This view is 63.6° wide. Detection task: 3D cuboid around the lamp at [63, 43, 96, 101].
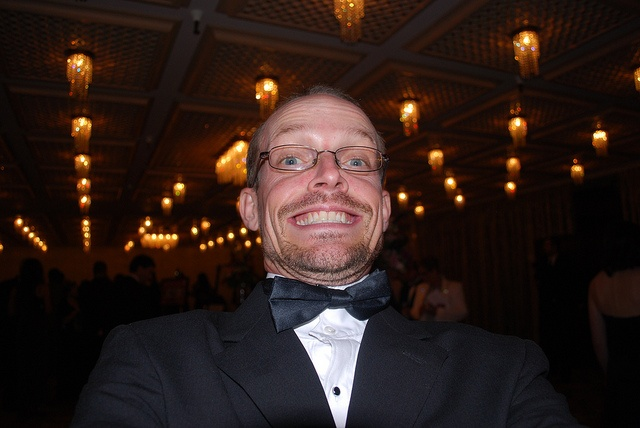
[{"bbox_3d":[-2.728,-1.603,5.848,0.303,0.616,0.281,0,6,-23],"label":"lamp"}]
